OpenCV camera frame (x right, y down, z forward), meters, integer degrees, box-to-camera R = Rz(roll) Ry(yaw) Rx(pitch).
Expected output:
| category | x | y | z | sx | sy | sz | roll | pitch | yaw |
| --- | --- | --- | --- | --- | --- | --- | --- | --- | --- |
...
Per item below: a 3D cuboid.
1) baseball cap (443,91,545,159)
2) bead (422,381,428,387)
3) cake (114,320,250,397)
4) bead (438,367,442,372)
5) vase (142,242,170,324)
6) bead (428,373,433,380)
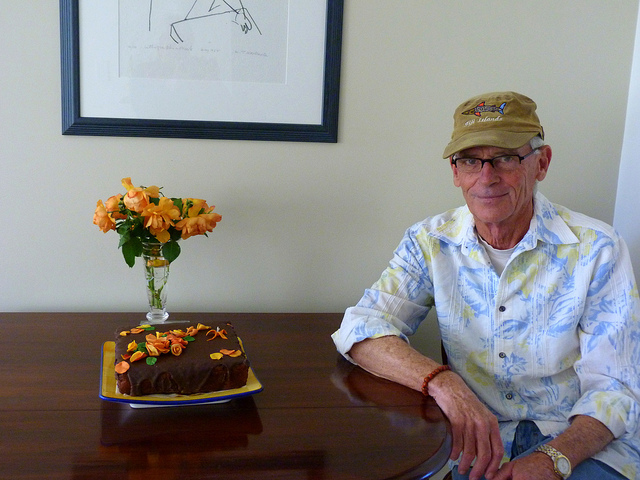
| category | x | y | z | sx | sy | sz | roll | pitch | yaw |
| --- | --- | --- | --- | --- | --- | --- | --- | --- | --- |
| baseball cap | 0.527 | -0.350 | 1.744 | 0.276 | 0.202 | 0.405 | -1 | 4 | 31 |
| bead | 0.282 | 0.386 | 1.533 | 0.011 | 0.012 | 0.007 | -2 | -12 | 12 |
| cake | -0.379 | 0.300 | 1.525 | 0.319 | 0.104 | 0.291 | -6 | 19 | -21 |
| bead | 0.327 | 0.353 | 1.560 | 0.011 | 0.009 | 0.011 | 3 | 18 | 6 |
| vase | -0.530 | 0.123 | 1.847 | 0.079 | 0.270 | 0.118 | -6 | 18 | -18 |
| bead | 0.297 | 0.367 | 1.541 | 0.011 | 0.013 | 0.011 | -14 | 6 | 21 |
